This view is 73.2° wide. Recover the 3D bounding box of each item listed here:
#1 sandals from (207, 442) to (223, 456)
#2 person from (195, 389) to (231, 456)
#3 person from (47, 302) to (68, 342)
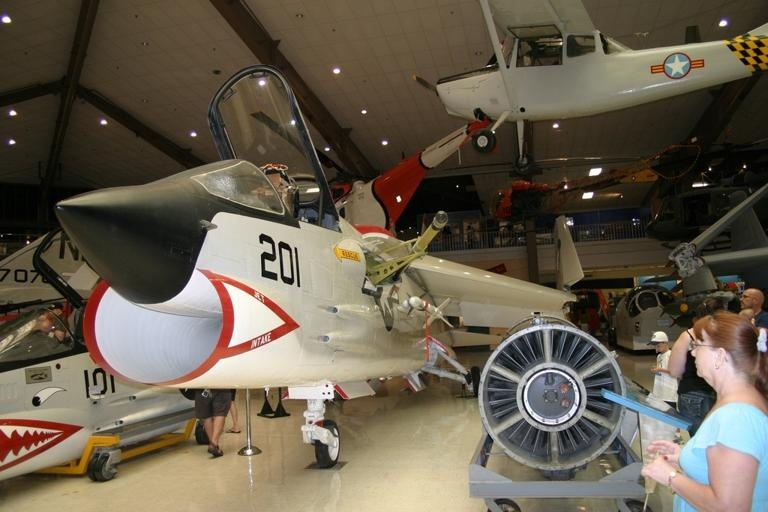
[{"bbox_3d":[-2.271,2.603,6.928,0.130,0.115,0.258,1,-7,2],"label":"sandals"},{"bbox_3d":[-2.312,2.238,7.031,0.430,0.898,0.379,-5,-3,41],"label":"person"},{"bbox_3d":[-4.200,0.855,6.682,0.188,0.449,0.812,-2,-2,-32],"label":"person"}]
